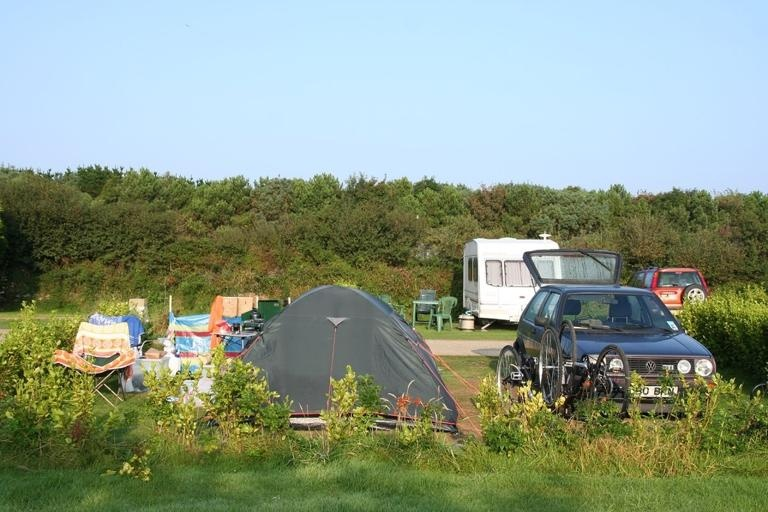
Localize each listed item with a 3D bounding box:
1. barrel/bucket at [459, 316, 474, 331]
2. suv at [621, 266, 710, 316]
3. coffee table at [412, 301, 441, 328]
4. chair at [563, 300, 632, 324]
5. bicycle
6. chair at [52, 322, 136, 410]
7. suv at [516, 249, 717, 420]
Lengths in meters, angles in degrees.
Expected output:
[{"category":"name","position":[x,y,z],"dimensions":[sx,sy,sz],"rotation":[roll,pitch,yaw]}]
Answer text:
[{"category":"barrel/bucket","position":[2.724,2.210,23.301],"dimensions":[0.405,0.457,0.441],"rotation":[-1,-3,0]},{"category":"suv","position":[7.233,0.883,18.180],"dimensions":[0.939,0.985,1.866],"rotation":[-1,7,2]},{"category":"coffee table","position":[1.454,2.119,25.586],"dimensions":[0.848,0.949,0.925],"rotation":[0,-2,-1]},{"category":"chair","position":[3.640,0.934,12.131],"dimensions":[0.880,0.485,0.554],"rotation":[-4,5,-11]},{"category":"bicycle","position":[2.877,1.693,11.096],"dimensions":[1.053,0.962,1.824],"rotation":[5,-4,-22]},{"category":"chair","position":[-5.260,2.027,13.101],"dimensions":[1.204,1.362,1.491],"rotation":[0,5,-27]},{"category":"suv","position":[3.858,1.188,12.682],"dimensions":[2.394,2.962,4.309],"rotation":[2,-2,-4]}]
